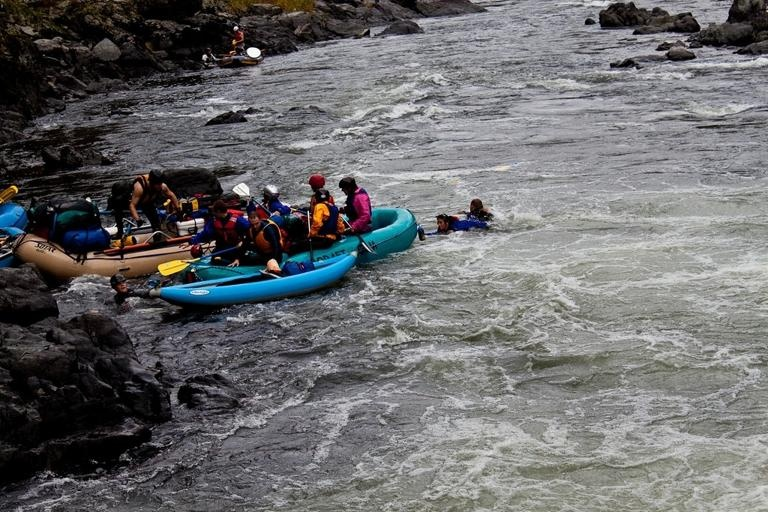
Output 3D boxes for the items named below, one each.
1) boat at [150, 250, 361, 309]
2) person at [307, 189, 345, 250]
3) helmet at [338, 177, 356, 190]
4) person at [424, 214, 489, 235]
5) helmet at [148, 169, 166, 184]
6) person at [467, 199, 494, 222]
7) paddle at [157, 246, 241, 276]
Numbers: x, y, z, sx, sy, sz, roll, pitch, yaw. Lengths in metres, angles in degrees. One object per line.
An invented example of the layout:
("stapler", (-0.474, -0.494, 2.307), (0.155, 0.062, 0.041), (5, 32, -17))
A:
("boat", (-2.753, 0.687, 25.560), (5.866, 0.645, 1.258), (-7, 20, -13))
("person", (-1.568, -0.899, 26.189), (0.564, 1.479, 0.985), (3, 23, 36))
("helmet", (-0.901, -1.832, 26.589), (0.424, 0.290, 0.184), (-15, 19, -27))
("person", (1.942, -0.857, 28.117), (1.384, 0.258, 0.674), (-4, -1, -18))
("helmet", (-5.802, -1.993, 26.833), (0.403, 0.395, 0.345), (-11, 17, -6))
("person", (2.574, -1.244, 28.318), (0.828, 0.277, 0.730), (-3, 33, -16))
("paddle", (-5.068, 0.136, 25.501), (3.181, 0.213, 0.556), (-8, 37, -21))
